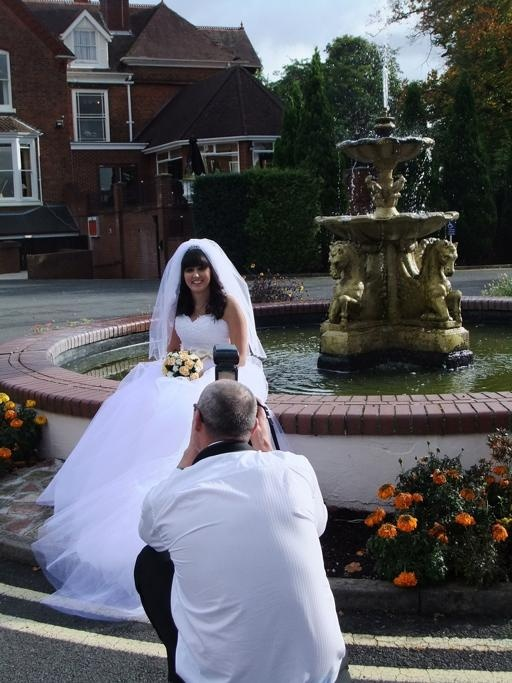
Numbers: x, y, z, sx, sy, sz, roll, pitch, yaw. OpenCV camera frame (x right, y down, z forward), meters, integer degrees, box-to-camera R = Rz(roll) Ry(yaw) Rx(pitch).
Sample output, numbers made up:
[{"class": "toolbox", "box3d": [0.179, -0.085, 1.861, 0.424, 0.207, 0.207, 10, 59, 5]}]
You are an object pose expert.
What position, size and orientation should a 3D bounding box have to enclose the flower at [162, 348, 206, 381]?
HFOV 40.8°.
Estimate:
[{"class": "flower", "box3d": [-0.491, 0.155, 4.720, 0.198, 0.134, 0.216, 4, 9, -5]}]
